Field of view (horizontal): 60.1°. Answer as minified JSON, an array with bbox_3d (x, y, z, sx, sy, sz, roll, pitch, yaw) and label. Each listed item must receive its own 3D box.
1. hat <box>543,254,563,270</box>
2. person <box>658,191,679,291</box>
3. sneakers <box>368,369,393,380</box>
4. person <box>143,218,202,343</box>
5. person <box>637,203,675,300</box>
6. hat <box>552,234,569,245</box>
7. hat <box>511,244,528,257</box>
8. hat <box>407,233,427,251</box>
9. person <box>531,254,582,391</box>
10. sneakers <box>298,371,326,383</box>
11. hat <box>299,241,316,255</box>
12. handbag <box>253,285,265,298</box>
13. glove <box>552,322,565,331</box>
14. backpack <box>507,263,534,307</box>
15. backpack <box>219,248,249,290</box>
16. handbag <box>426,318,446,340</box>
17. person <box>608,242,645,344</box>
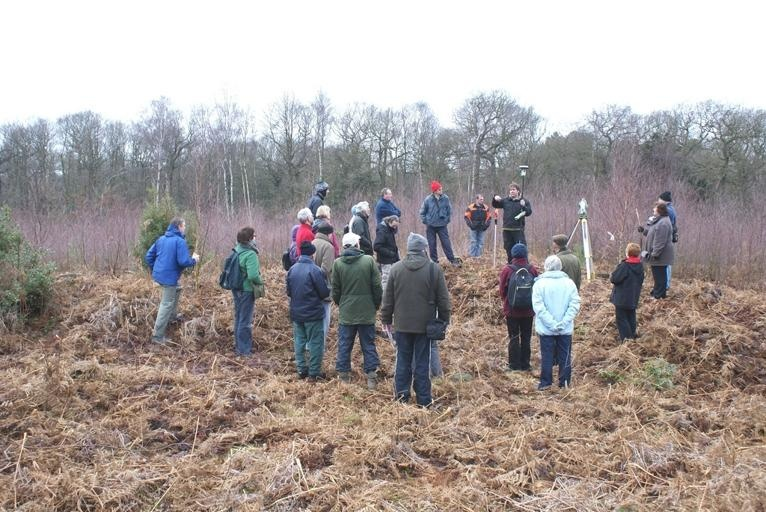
[{"bbox_3d":[3.184,0.082,12.446,0.224,0.323,0.316,3,35,8],"label":"hat"},{"bbox_3d":[6.577,-0.454,15.319,0.516,1.702,0.519,0,-16,29],"label":"person"},{"bbox_3d":[-0.069,2.294,12.884,0.244,0.119,0.334,-1,-1,25],"label":"sneakers"},{"bbox_3d":[-4.401,0.489,13.611,0.916,2.537,0.518,-1,2,-11],"label":"person"},{"bbox_3d":[6.092,-0.155,14.633,0.566,2.141,0.634,1,2,21],"label":"person"},{"bbox_3d":[3.573,-0.324,13.353,0.260,0.197,0.289,0,2,2],"label":"hat"},{"bbox_3d":[2.671,-0.105,13.004,0.251,0.234,0.278,4,12,3],"label":"hat"},{"bbox_3d":[0.607,-0.259,11.971,0.258,0.339,0.346,0,9,-7],"label":"hat"},{"bbox_3d":[3.272,1.247,12.472,0.777,2.530,0.798,2,3,41],"label":"person"},{"bbox_3d":[-1.401,2.325,12.879,0.549,0.270,0.198,-1,6,-20],"label":"sneakers"},{"bbox_3d":[-1.457,-0.152,12.797,0.272,0.211,0.235,-33,-19,19],"label":"hat"},{"bbox_3d":[-2.561,0.741,13.704,0.261,0.335,0.332,-1,9,-3],"label":"handbag"},{"bbox_3d":[3.250,1.295,12.238,0.172,0.065,0.125,-35,17,-1],"label":"glove"},{"bbox_3d":[2.693,0.611,12.945,0.530,0.820,0.487,-6,20,-20],"label":"backpack"},{"bbox_3d":[-3.109,0.295,13.587,0.474,0.905,0.589,2,0,-40],"label":"backpack"},{"bbox_3d":[0.939,1.279,11.652,0.358,0.350,0.190,0,2,0],"label":"handbag"},{"bbox_3d":[4.995,0.740,13.618,0.605,2.040,0.604,1,2,20],"label":"person"}]
